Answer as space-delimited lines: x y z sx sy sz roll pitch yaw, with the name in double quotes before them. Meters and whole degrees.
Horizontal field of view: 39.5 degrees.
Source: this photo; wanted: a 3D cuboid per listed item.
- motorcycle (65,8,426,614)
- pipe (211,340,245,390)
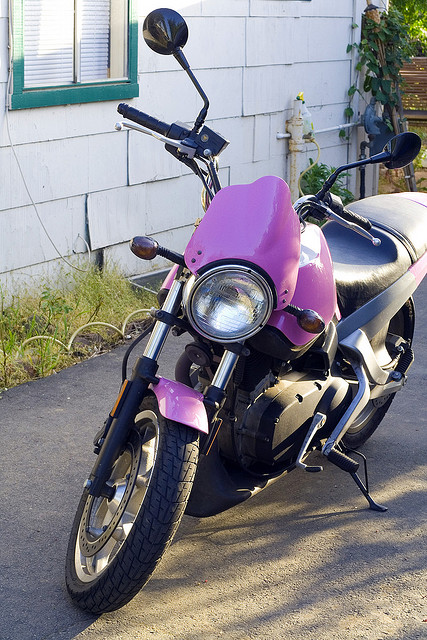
"motorcycle" 0.254 -0.074 2.084 0.682 1.737 1.765 13 18 38
"pipe" 0.021 0.116 1.541 0.048 0.163 0.041 2 19 -45
